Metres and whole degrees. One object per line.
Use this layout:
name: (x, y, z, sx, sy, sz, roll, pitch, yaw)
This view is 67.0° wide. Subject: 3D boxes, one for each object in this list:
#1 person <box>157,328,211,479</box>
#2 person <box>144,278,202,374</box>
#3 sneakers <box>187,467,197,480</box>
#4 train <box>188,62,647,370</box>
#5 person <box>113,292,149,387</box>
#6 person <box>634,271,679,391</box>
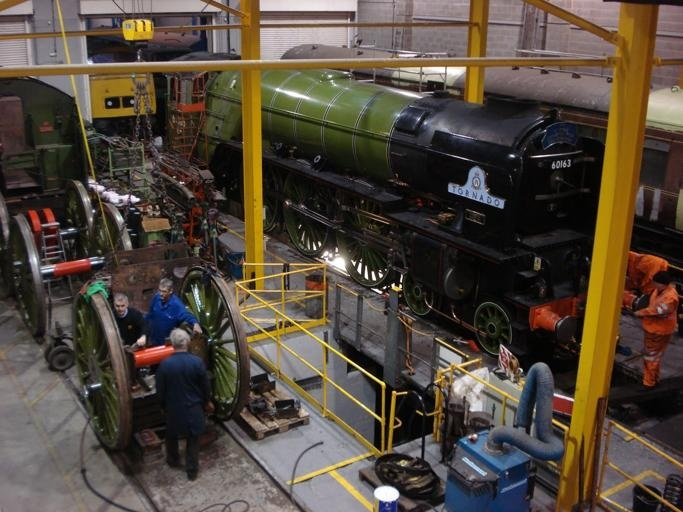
person: (-2.008, 1.874, 6.542, 0.699, 1.858, 0.410, -9, 21, -16)
person: (-2.309, 1.001, 7.113, 1.075, 1.204, 0.301, 12, 11, 19)
sneakers: (-1.916, 2.798, 6.612, 0.141, 0.147, 0.116, 2, 16, 3)
train: (0.557, -2.741, 14.219, 3.300, 5.436, 14.063, -10, 26, -33)
person: (-2.951, 1.090, 7.321, 0.375, 1.075, 1.232, -13, 23, -25)
person: (5.181, 1.295, 8.612, 0.542, 1.745, 0.689, 11, 24, 33)
